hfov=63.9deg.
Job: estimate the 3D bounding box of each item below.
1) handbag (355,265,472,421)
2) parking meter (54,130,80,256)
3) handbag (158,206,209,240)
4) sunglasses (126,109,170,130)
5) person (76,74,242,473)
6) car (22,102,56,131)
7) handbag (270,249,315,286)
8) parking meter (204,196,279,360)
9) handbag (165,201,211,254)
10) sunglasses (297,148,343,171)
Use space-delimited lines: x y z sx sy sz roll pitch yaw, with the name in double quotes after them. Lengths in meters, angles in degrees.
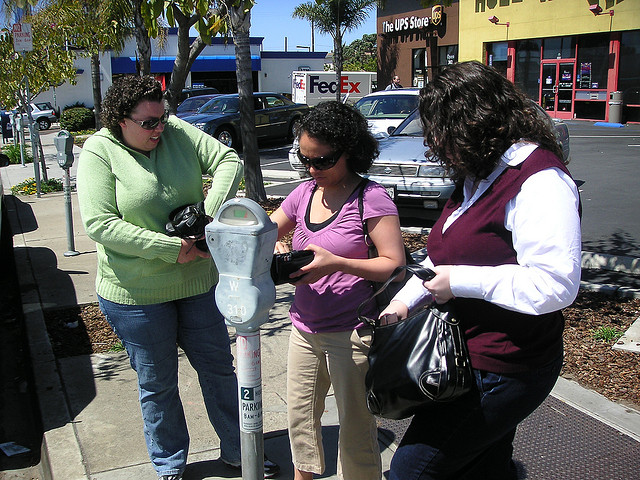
0.369 0.379 1.942 0.245 0.692 0.500 13 -23 -38 "handbag"
-3.456 -0.658 7.046 0.309 1.712 0.302 1 3 35 "parking meter"
-0.691 -0.075 2.631 0.291 0.148 0.225 3 25 46 "handbag"
-0.886 -0.610 2.639 0.184 0.073 0.078 -9 13 -36 "sunglasses"
-0.859 0.251 2.769 0.763 2.244 0.502 -3 10 -8 "person"
-17.429 -7.825 32.004 1.427 1.913 4.861 -6 12 -23 "car"
-0.119 0.118 2.186 0.139 0.159 0.058 -15 39 -32 "handbag"
-0.283 0.154 1.914 0.264 0.616 0.219 -3 10 -10 "parking meter"
-0.667 -0.053 2.587 0.218 0.259 0.162 -4 11 -15 "handbag"
-0.007 -0.394 2.498 0.234 0.102 0.111 1 11 12 "sunglasses"
